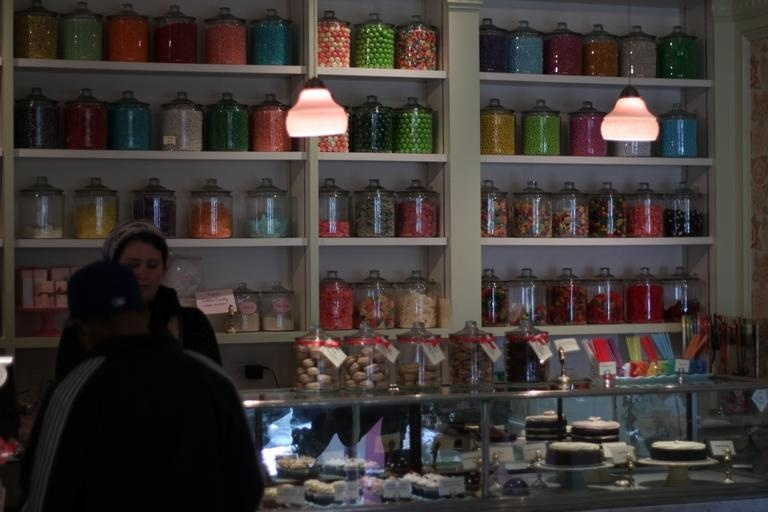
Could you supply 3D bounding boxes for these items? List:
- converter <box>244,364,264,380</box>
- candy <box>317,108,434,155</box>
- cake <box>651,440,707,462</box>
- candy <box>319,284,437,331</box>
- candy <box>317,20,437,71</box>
[{"bbox_3d":[-0.801,0.723,5.703,0.164,0.116,0.082,1,2,-4],"label":"converter"},{"bbox_3d":[0.072,-0.787,5.554,0.437,0.233,0.404,0,-4,-3],"label":"candy"},{"bbox_3d":[1.514,1.000,4.733,0.298,0.104,0.049,0,-6,-10],"label":"cake"},{"bbox_3d":[0.075,0.304,5.687,0.531,0.286,0.187,-2,-6,3],"label":"candy"},{"bbox_3d":[0.067,-1.305,5.693,0.478,0.251,0.422,0,0,-8],"label":"candy"}]
